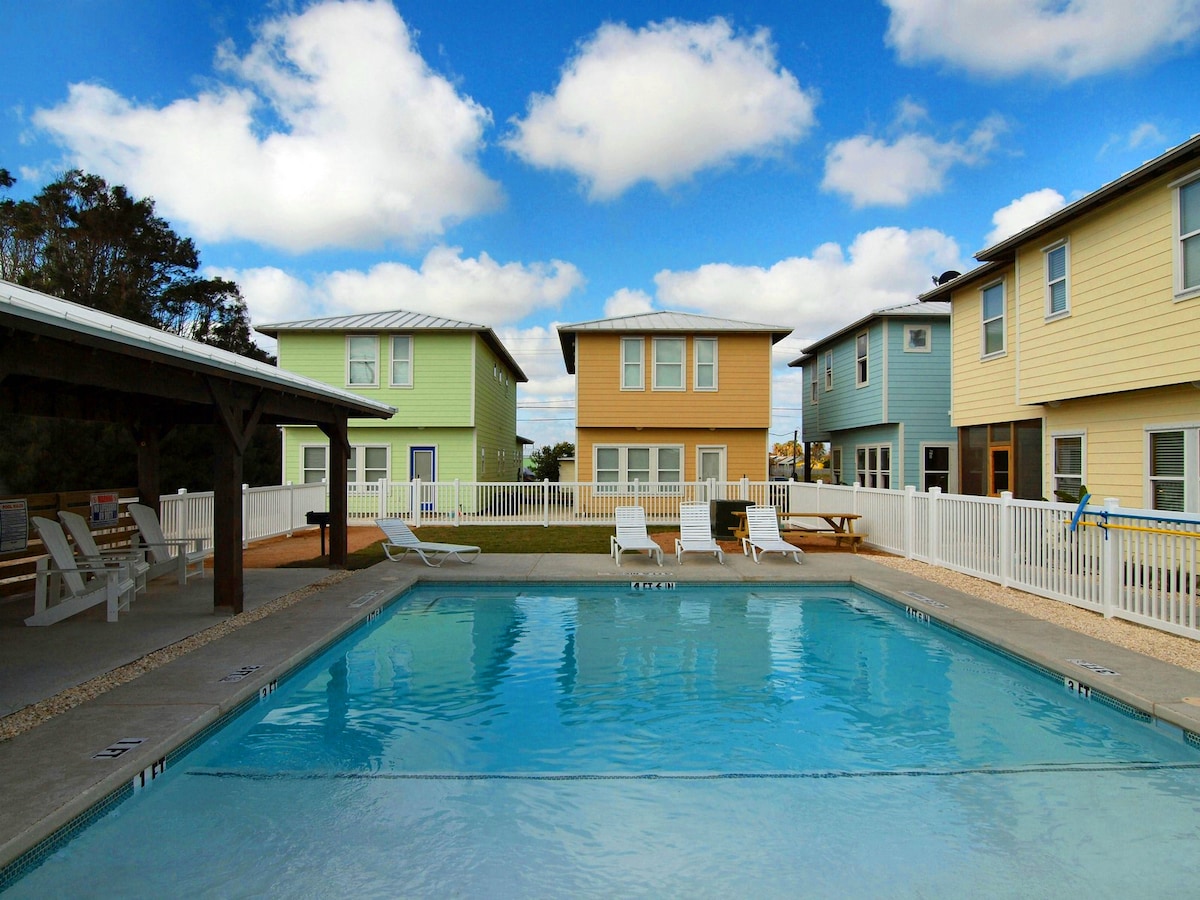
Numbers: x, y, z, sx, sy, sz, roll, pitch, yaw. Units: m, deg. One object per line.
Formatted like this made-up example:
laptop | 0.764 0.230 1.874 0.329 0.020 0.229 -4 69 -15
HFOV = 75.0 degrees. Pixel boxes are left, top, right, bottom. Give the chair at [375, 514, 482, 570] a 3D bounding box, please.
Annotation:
chair | -3.692 1.879 15.926 2.026 0.648 1.143 1 -2 24
